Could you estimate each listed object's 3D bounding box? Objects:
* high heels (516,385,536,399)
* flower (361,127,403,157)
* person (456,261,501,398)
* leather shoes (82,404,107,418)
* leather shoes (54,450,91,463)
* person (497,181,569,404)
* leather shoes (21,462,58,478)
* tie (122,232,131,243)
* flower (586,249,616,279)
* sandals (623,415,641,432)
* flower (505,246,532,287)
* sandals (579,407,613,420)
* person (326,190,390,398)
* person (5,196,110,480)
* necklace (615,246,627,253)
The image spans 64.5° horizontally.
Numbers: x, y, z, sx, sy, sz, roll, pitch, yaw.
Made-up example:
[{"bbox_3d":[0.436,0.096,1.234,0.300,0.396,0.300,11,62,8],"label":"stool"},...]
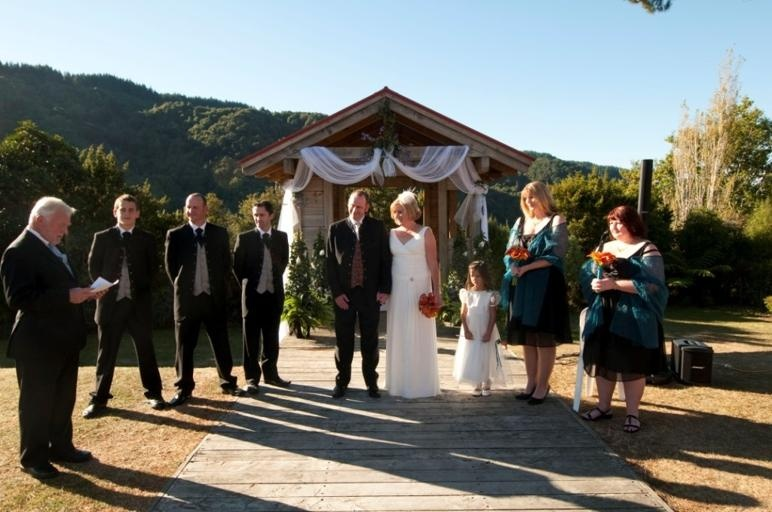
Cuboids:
[{"bbox_3d":[1.921,1.905,8.523,0.159,0.134,0.387,21,-7,2],"label":"high heels"},{"bbox_3d":[-0.069,-2.483,13.575,0.741,0.577,0.788,-18,-46,-4],"label":"flower"},{"bbox_3d":[1.307,1.008,8.580,0.670,1.892,0.446,2,-4,3],"label":"person"},{"bbox_3d":[-3.845,2.053,8.057,0.123,0.153,0.347,-5,-14,38],"label":"leather shoes"},{"bbox_3d":[-3.607,2.318,7.047,0.366,0.171,0.165,1,0,-11],"label":"leather shoes"},{"bbox_3d":[1.987,0.512,8.179,0.874,2.938,0.455,1,-4,17],"label":"person"},{"bbox_3d":[-3.860,2.371,6.880,0.407,0.179,0.166,2,-2,10],"label":"leather shoes"},{"bbox_3d":[-3.427,-0.249,8.077,0.089,0.133,0.030,3,-11,-14],"label":"tie"},{"bbox_3d":[2.791,0.065,7.858,0.287,0.385,0.334,-14,18,41],"label":"flower"},{"bbox_3d":[3.113,2.121,7.741,0.297,0.204,0.156,4,-5,-19],"label":"sandals"},{"bbox_3d":[1.756,0.132,8.126,0.255,0.521,0.411,5,-3,-33],"label":"flower"},{"bbox_3d":[2.735,2.073,8.037,0.408,0.164,0.171,2,-9,-6],"label":"sandals"},{"bbox_3d":[-0.376,0.529,8.403,0.848,2.860,0.584,0,-5,26],"label":"person"},{"bbox_3d":[-3.829,0.909,6.874,0.900,3.128,0.480,4,-4,-23],"label":"person"},{"bbox_3d":[2.996,-0.094,7.827,0.076,0.036,0.094,19,-40,12],"label":"necklace"}]
